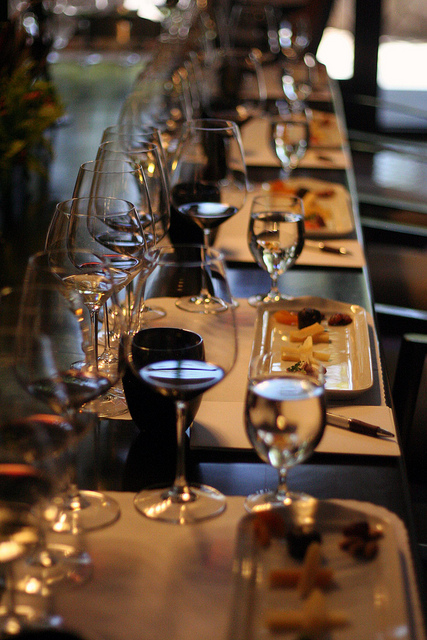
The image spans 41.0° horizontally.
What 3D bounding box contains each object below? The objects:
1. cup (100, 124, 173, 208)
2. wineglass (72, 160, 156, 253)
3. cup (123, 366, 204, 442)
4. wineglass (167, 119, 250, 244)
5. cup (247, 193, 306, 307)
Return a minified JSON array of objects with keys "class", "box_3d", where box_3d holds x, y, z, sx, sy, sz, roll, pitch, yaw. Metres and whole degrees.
[{"class":"cup","box_3d":[-0.114,-0.319,1.179,0.189,0.202,0.194,0,12,0]},{"class":"wineglass","box_3d":[-0.166,-0.189,0.914,0.106,0.118,0.121,0,10,25]},{"class":"cup","box_3d":[-0.057,0.092,0.656,0.081,0.080,0.084,1,1,0]},{"class":"wineglass","box_3d":[-0.010,-0.292,1.211,0.159,0.214,0.275,-4,39,3]},{"class":"cup","box_3d":[0.112,-0.120,1.049,0.106,0.175,0.158,0,39,8]}]
